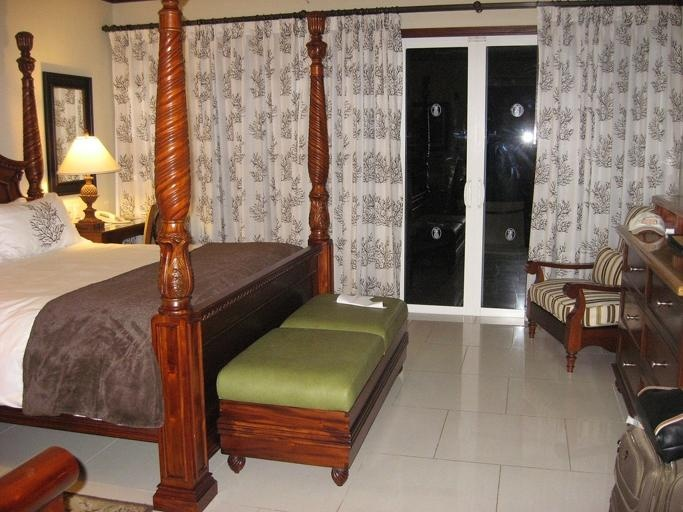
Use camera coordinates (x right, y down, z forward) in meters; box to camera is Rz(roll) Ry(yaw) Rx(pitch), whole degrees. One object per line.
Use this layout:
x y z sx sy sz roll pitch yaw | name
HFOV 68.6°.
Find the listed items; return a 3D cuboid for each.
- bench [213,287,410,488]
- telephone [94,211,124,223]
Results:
-0.212 0.397 2.823 0.689 0.583 1.502 1 13 13 | bench
-2.474 -0.413 5.406 0.197 0.047 0.254 37 17 36 | telephone
